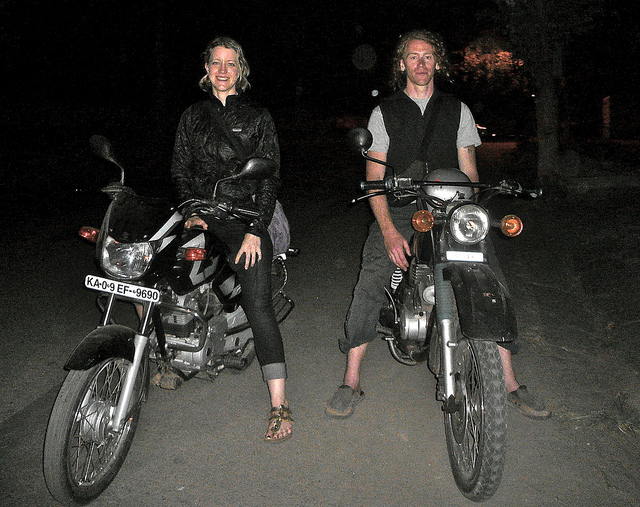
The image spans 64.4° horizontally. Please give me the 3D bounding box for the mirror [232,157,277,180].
[{"bbox_3d":[-0.424,-0.555,3.401,0.216,0.101,0.154,-3,6,13],"label":"mirror"}]

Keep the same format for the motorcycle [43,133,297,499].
[{"bbox_3d":[-1.223,0.302,3.830,1.473,2.273,1.816,-6,16,-17],"label":"motorcycle"}]

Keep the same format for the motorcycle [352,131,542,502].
[{"bbox_3d":[0.813,0.434,3.533,1.138,2.116,1.416,5,17,20],"label":"motorcycle"}]

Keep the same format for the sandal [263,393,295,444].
[{"bbox_3d":[-0.310,1.257,3.917,0.210,0.201,0.498,1,12,1],"label":"sandal"}]
